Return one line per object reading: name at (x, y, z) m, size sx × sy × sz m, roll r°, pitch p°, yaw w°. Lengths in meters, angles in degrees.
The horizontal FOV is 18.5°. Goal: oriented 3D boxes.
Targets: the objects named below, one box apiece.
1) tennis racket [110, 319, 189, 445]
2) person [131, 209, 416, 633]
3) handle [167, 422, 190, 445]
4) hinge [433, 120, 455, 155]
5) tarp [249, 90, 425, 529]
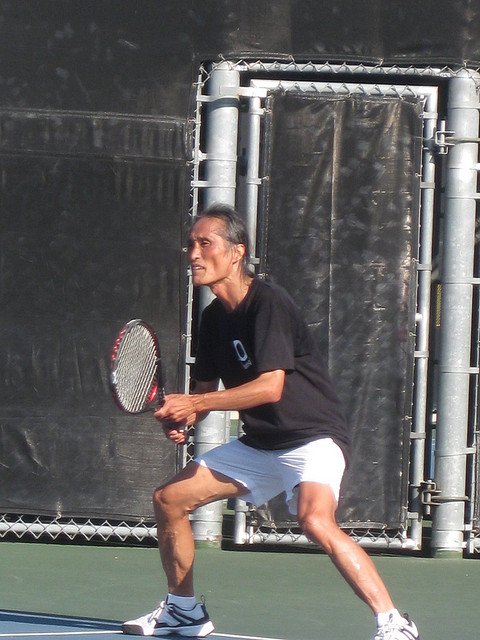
tennis racket at (-0.452, 0.202, 6.493) m, size 0.235 × 0.402 × 0.398 m, roll 1°, pitch 9°, yaw -2°
person at (0.174, 0.439, 7.223) m, size 1.206 × 2.022 × 1.390 m, roll 11°, pitch -24°, yaw -26°
handle at (-0.266, 0.481, 6.465) m, size 0.037 × 0.091 × 0.104 m, roll -28°, pitch 52°, yaw -17°
hinge at (1.117, -1.008, 8.094) m, size 0.111 × 0.188 × 0.151 m, roll 0°, pitch 9°, yaw -12°
tarp at (0.529, -0.064, 8.034) m, size 0.865 × 2.346 × 0.480 m, roll 2°, pitch 9°, yaw 2°
